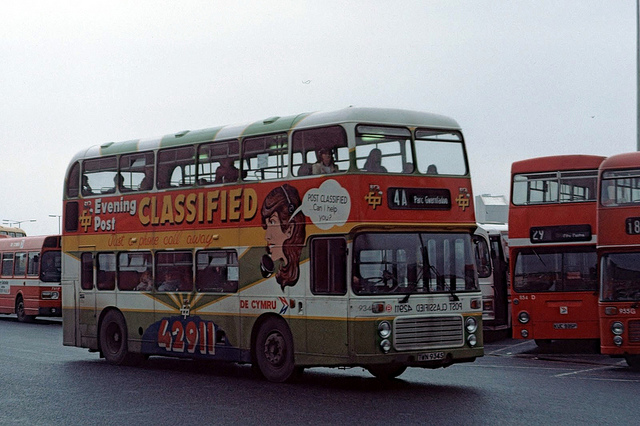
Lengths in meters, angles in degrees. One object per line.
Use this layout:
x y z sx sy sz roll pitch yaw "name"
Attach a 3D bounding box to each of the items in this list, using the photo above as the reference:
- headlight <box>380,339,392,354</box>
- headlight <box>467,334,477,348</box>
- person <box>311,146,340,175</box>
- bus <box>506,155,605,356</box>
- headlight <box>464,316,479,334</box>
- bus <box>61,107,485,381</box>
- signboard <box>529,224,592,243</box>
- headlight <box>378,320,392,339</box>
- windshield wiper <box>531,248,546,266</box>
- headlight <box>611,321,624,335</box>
1.334 2.748 12.656 0.256 0.312 0.159 5 -2 -35 "headlight"
3.261 2.772 13.334 0.236 0.290 0.089 7 -15 -26 "headlight"
0.129 -1.151 13.381 0.757 0.600 0.221 0 4 43 "person"
7.240 1.146 19.236 2.528 5.438 1.257 -1 4 24 "bus"
3.259 2.448 13.375 0.079 0.272 0.267 -6 34 49 "headlight"
-2.077 0.847 16.169 12.316 6.203 3.004 -1 4 34 "bus"
7.373 0.642 18.909 1.761 0.497 0.170 -2 3 14 "signboard"
1.311 2.399 12.666 0.343 0.429 0.145 0 1 -8 "headlight"
6.780 1.390 19.194 0.078 0.611 0.080 -38 -8 3 "windshield wiper"
7.553 2.932 15.758 0.266 0.323 0.310 8 2 9 "headlight"
